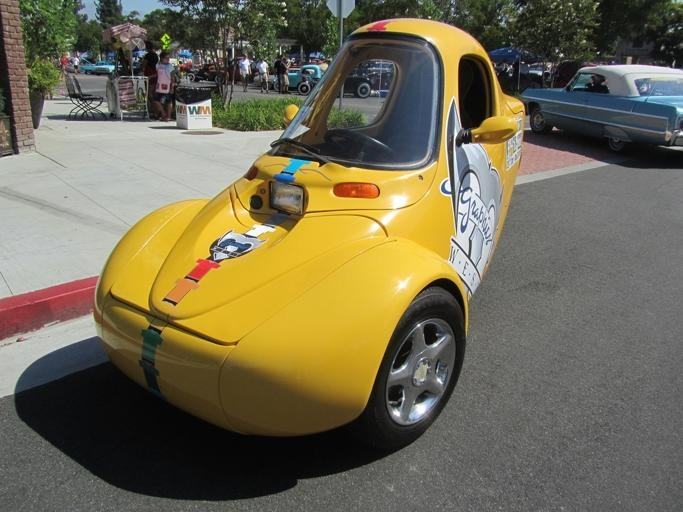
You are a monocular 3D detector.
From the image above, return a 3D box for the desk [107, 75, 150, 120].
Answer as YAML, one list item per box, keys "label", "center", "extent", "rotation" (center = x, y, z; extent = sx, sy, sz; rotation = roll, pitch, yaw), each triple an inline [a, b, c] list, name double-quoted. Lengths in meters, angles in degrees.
- label: "desk"
  center: [-7.014, -5.498, 16.301]
  extent: [1.048, 1.354, 1.970]
  rotation: [-11, 33, -26]

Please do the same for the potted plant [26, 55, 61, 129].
- label: "potted plant"
  center: [-7.782, -4.229, 12.803]
  extent: [0.685, 1.620, 2.607]
  rotation: [-6, 22, -29]
